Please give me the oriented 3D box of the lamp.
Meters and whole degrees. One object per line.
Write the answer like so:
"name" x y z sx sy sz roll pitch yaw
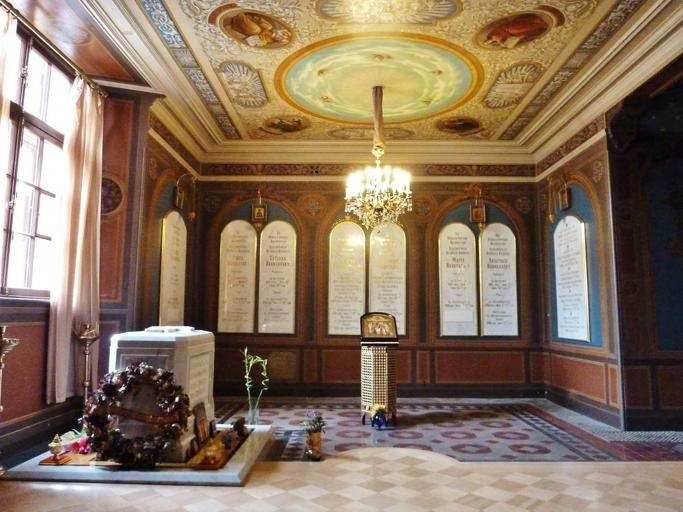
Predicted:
"lamp" 0.590 -1.441 6.673 1.136 1.785 0.947 -2 12 15

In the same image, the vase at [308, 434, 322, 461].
"vase" -0.271 1.981 5.077 0.155 0.282 0.199 2 -6 -3
